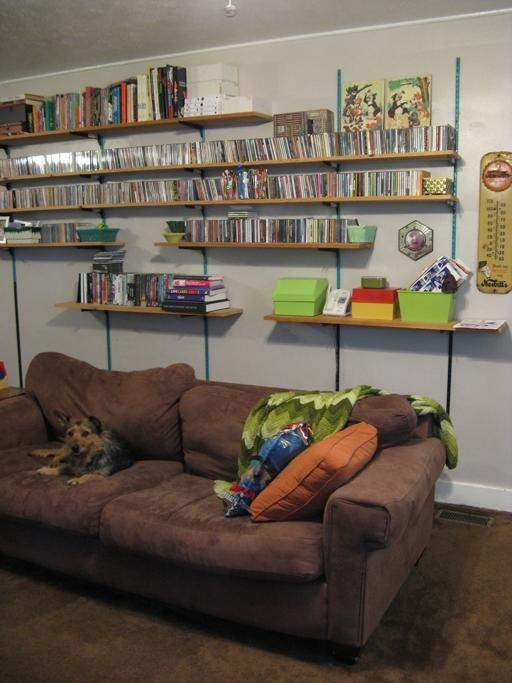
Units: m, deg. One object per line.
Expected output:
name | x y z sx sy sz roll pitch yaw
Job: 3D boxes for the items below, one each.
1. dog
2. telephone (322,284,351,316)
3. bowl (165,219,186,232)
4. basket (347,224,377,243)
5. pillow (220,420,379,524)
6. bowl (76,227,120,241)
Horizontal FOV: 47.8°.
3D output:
dog | -0.867 0.488 2.801 0.412 0.254 0.554 3 -2 -28
telephone | 0.475 -0.231 3.401 0.159 0.170 0.210 0 4 10
bowl | -0.531 -0.758 3.835 0.105 0.064 0.100 0 2 0
basket | 0.600 -0.601 3.256 0.151 0.080 0.112 1 8 1
pillow | 0.143 0.483 2.055 0.551 0.310 0.341 0 4 11
bowl | -1.118 -0.745 4.053 0.202 0.062 0.136 -1 2 22
